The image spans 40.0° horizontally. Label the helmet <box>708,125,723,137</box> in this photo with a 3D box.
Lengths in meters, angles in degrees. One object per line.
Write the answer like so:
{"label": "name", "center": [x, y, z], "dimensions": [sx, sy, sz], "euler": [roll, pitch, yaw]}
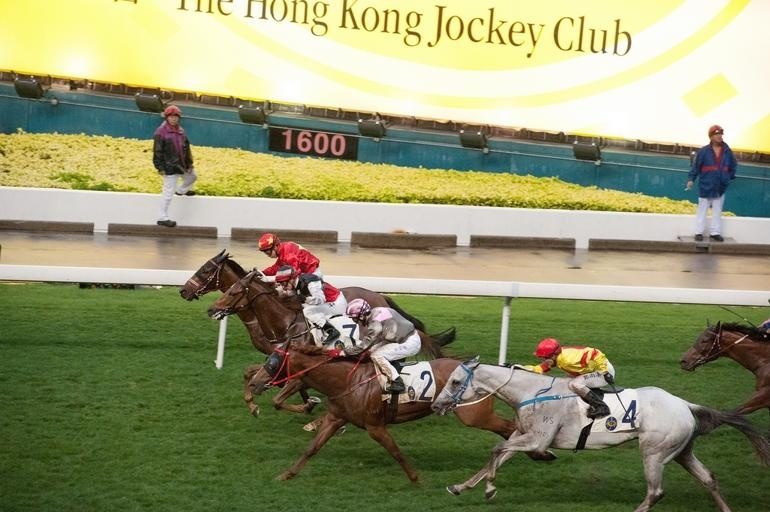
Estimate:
{"label": "helmet", "center": [5.212, -1.984, 16.754], "dimensions": [0.191, 0.112, 0.248], "euler": [-5, -6, -20]}

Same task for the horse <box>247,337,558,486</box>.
{"label": "horse", "center": [0.221, 1.629, 11.266], "dimensions": [3.328, 1.592, 0.624], "euler": [-2, -7, -19]}

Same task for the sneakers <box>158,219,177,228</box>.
{"label": "sneakers", "center": [-3.368, -0.496, 16.428], "dimensions": [0.238, 0.079, 0.123], "euler": [2, 7, 5]}

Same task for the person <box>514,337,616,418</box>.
{"label": "person", "center": [1.920, 1.218, 10.969], "dimensions": [1.163, 0.739, 0.611], "euler": [-2, 4, 1]}

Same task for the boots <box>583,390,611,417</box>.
{"label": "boots", "center": [2.130, 1.505, 10.585], "dimensions": [0.210, 0.288, 0.131], "euler": [-6, -2, 12]}

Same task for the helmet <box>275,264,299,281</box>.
{"label": "helmet", "center": [-1.077, 0.204, 11.608], "dimensions": [0.211, 0.099, 0.149], "euler": [-2, -3, -25]}

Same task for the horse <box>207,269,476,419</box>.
{"label": "horse", "center": [-0.594, 1.028, 12.205], "dimensions": [3.043, 1.486, 0.595], "euler": [1, -5, -34]}

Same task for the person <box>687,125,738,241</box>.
{"label": "person", "center": [5.279, -1.157, 17.084], "dimensions": [0.687, 1.868, 0.879], "euler": [5, 4, 21]}

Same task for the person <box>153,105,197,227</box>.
{"label": "person", "center": [-3.230, -1.357, 16.318], "dimensions": [0.586, 1.835, 0.784], "euler": [3, 4, -6]}

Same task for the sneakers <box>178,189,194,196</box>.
{"label": "sneakers", "center": [-3.160, -0.990, 16.858], "dimensions": [0.244, 0.089, 0.078], "euler": [-3, 44, -6]}

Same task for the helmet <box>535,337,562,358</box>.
{"label": "helmet", "center": [1.685, 0.974, 10.978], "dimensions": [0.330, 0.203, 0.161], "euler": [-6, -40, 8]}

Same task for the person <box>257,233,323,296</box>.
{"label": "person", "center": [-1.048, 0.092, 12.092], "dimensions": [0.799, 0.273, 0.467], "euler": [10, 24, -25]}

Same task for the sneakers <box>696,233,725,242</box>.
{"label": "sneakers", "center": [5.273, -0.282, 17.326], "dimensions": [0.545, 0.180, 0.166], "euler": [0, 9, 8]}

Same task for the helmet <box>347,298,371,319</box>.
{"label": "helmet", "center": [-0.279, 0.588, 11.247], "dimensions": [0.278, 0.158, 0.131], "euler": [0, -23, 1]}

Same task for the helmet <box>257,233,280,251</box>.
{"label": "helmet", "center": [-1.322, -0.138, 12.043], "dimensions": [0.193, 0.204, 0.301], "euler": [3, 4, -8]}
